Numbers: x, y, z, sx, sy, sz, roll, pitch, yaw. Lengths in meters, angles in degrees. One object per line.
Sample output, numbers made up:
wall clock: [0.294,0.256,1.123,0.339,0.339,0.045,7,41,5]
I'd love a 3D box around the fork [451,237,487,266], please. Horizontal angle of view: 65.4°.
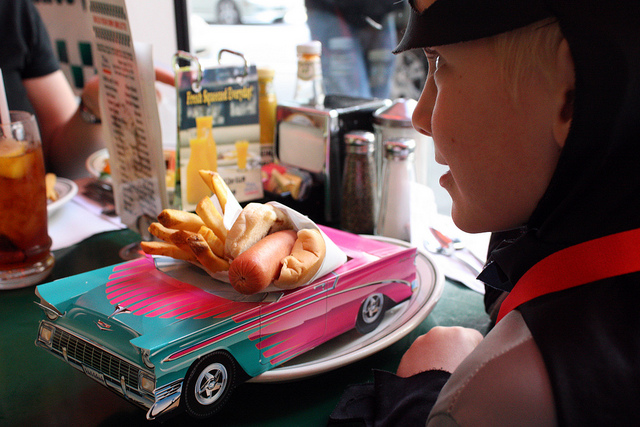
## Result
fork: [0.334,0.085,1.109,0.024,0.012,0.082,-12,29,-24]

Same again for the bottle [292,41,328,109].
bottle: [-0.022,-0.347,1.255,0.086,0.161,0.210,2,21,-1]

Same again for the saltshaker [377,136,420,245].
saltshaker: [0.178,-0.062,1.129,0.097,0.253,0.089,-30,40,-32]

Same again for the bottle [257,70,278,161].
bottle: [-0.137,-0.235,1.223,0.038,0.225,0.086,8,21,16]

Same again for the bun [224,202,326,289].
bun: [-0.067,0.046,0.773,0.150,0.093,0.108,13,24,24]
